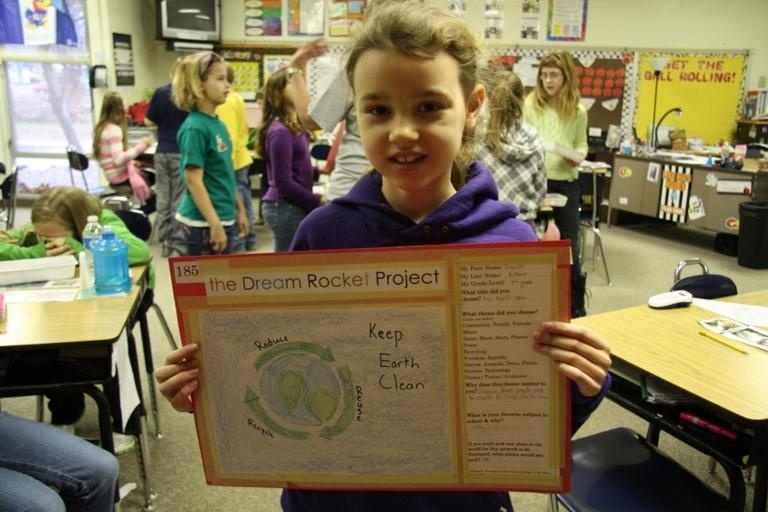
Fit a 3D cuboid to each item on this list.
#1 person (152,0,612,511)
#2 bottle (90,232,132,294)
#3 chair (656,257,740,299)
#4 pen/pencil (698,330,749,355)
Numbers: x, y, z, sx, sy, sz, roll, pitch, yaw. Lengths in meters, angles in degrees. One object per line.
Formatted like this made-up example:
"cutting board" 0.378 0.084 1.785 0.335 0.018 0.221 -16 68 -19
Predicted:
"person" 0.046 0.022 1.753 1.173 1.464 0.525 1 16 4
"bottle" -1.362 0.031 2.968 0.183 0.293 0.175 -1 14 0
"chair" 2.224 0.149 4.200 0.307 0.249 0.157 -6 6 -6
"pen/pencil" 1.440 0.368 2.513 0.019 0.019 0.166 0 20 -35
